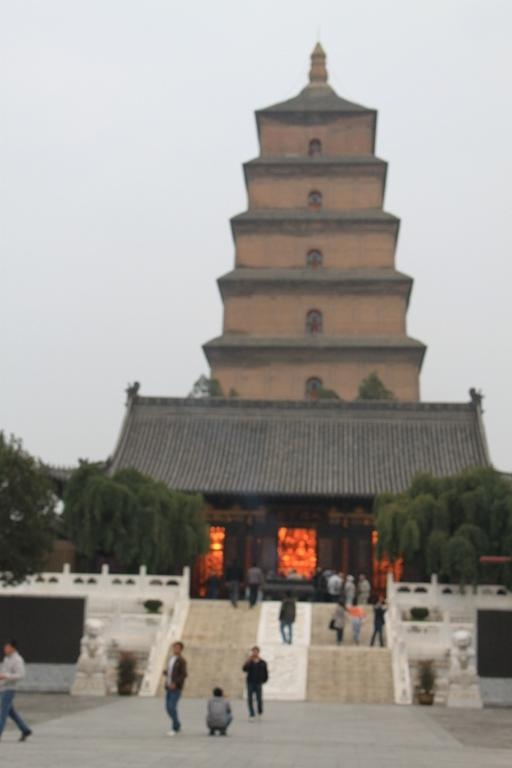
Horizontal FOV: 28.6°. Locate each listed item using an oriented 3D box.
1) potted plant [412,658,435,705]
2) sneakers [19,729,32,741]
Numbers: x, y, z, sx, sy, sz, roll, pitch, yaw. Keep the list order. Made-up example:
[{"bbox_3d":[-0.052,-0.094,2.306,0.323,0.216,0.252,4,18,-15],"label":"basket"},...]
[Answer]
[{"bbox_3d":[2.767,4.880,16.472,0.384,0.850,0.449,3,-25,-1],"label":"potted plant"},{"bbox_3d":[-2.185,3.329,9.538,0.067,0.106,0.222,3,0,-1],"label":"sneakers"}]
